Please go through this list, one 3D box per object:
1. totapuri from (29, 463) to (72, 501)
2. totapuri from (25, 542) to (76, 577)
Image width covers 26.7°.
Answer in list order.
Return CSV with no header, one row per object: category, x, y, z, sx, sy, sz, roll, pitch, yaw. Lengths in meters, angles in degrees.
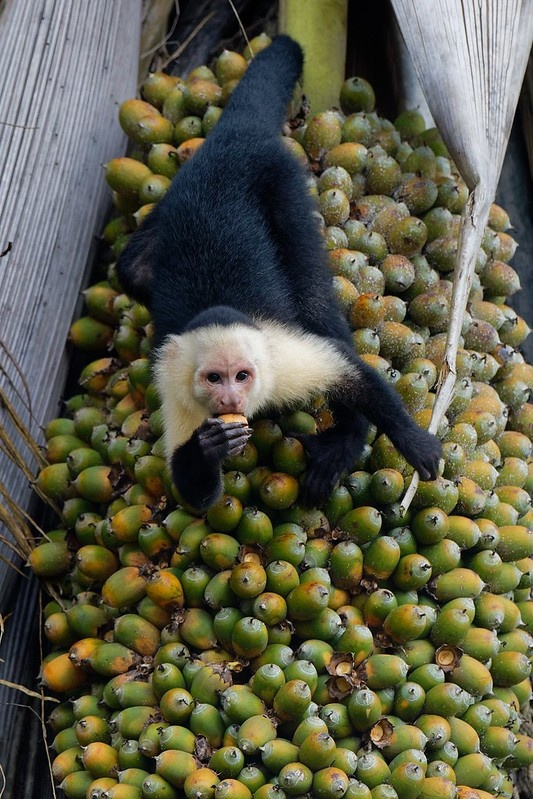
totapuri,-0.765,0.300,4.088,0.158,0.105,0.119,9,17,24
totapuri,-0.761,0.554,3.990,0.150,0.103,0.105,-16,21,-18
